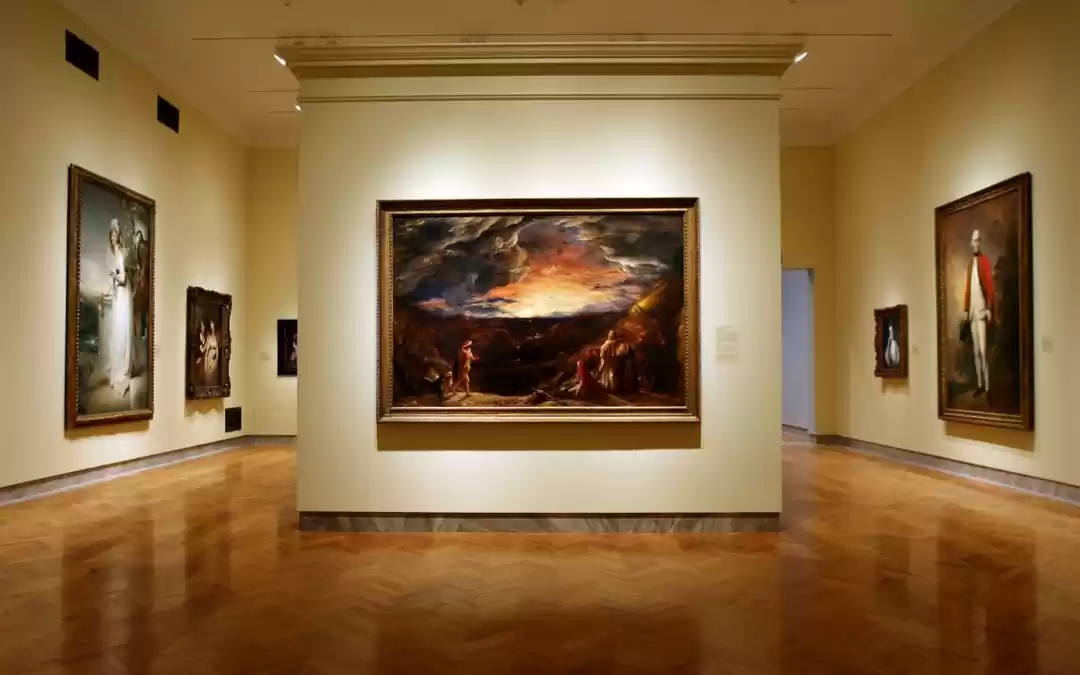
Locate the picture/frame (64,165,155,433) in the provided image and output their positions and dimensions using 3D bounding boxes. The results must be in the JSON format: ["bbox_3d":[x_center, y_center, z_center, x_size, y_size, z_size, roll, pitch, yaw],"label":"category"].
[{"bbox_3d":[-8.756,-0.770,15.319,0.237,5.093,1.994,-1,-1,18],"label":"picture/frame"}]

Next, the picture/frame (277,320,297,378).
[{"bbox_3d":[-6.504,0.246,19.567,0.727,1.260,0.047,-1,0,35],"label":"picture/frame"}]

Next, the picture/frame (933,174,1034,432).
[{"bbox_3d":[8.820,-0.665,14.898,0.318,4.777,1.982,0,-1,-17],"label":"picture/frame"}]
